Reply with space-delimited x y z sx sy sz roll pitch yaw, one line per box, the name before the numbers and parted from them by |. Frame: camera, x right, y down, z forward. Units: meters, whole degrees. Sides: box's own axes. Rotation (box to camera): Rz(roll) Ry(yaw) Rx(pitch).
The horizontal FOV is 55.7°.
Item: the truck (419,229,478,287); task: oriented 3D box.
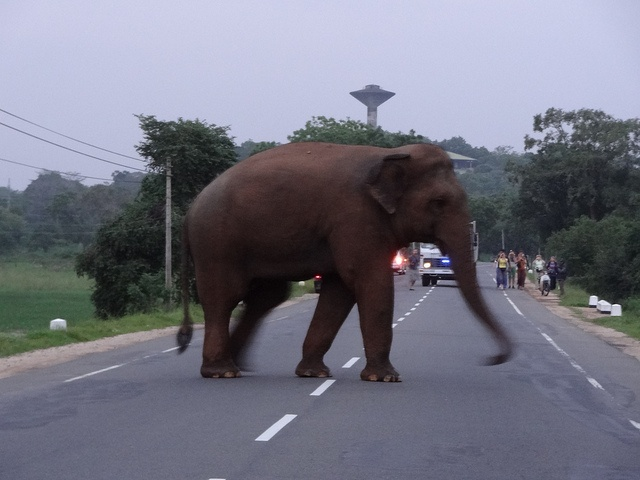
truck | 8.422 1.639 39.933 4.007 4.243 6.557 -1 -4 2
